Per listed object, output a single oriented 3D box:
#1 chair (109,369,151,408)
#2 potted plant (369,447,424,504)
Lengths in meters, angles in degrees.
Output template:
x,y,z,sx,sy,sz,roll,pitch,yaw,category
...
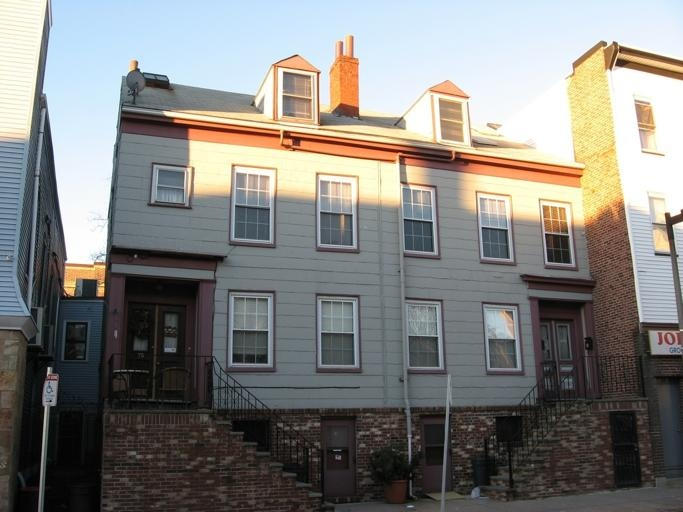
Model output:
x,y,z,sx,sy,sz,roll,pitch,yaw,category
-5.476,3.336,19.309,1.034,0.699,1.038,-15,-2,39,chair
1.418,5.942,20.265,1.299,1.491,0.750,0,-15,-3,potted plant
